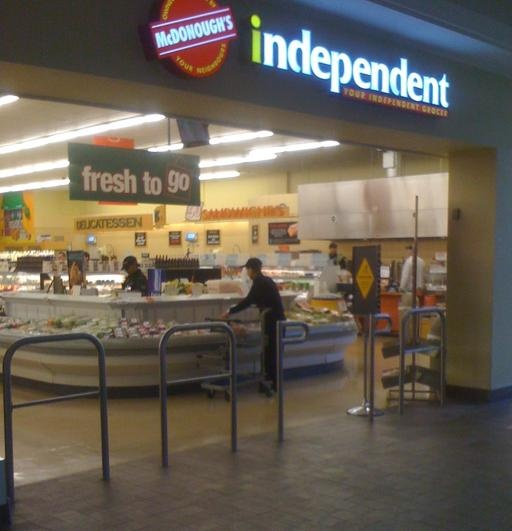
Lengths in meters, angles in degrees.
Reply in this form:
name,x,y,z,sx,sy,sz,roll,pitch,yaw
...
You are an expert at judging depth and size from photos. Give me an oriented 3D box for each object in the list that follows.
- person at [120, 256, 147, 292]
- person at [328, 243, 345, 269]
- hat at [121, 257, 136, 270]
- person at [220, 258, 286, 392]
name,x,y,z,sx,sy,sz,roll,pitch,yaw
person,-1.981,0.153,8.617,0.404,0.630,0.701,0,-2,-16
person,2.050,-0.260,13.173,0.400,0.696,1.621,-1,-2,10
hat,-2.092,-0.050,8.752,0.159,0.151,0.247,1,-1,0
person,0.020,0.674,5.954,0.466,1.531,0.794,-1,-2,18
